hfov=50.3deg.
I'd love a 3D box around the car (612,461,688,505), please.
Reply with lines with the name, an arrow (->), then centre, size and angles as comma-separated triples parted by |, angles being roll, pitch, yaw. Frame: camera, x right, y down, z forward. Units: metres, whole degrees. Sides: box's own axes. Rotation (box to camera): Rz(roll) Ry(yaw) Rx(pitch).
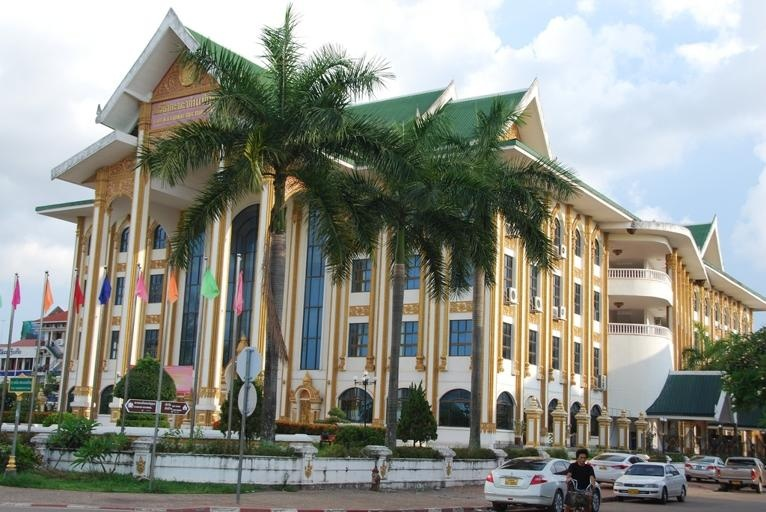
car -> 11.316, 9.605, 34.443 | 3.502, 1.594, 1.364 | 11, -19, -33

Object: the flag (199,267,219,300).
flag -> -7.631, 1.225, 35.762 | 0.707, 1.672, 0.172 | -2, -35, -10

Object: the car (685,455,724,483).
car -> 18.026, 12.155, 45.897 | 1.313, 0.934, 3.114 | -3, -9, 30

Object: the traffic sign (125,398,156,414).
traffic sign -> -9.036, 5.584, 30.327 | 1.130, 0.452, 0.787 | 8, -17, -25

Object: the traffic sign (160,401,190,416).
traffic sign -> -7.771, 5.608, 30.144 | 0.993, 0.431, 0.764 | 7, -17, -21
